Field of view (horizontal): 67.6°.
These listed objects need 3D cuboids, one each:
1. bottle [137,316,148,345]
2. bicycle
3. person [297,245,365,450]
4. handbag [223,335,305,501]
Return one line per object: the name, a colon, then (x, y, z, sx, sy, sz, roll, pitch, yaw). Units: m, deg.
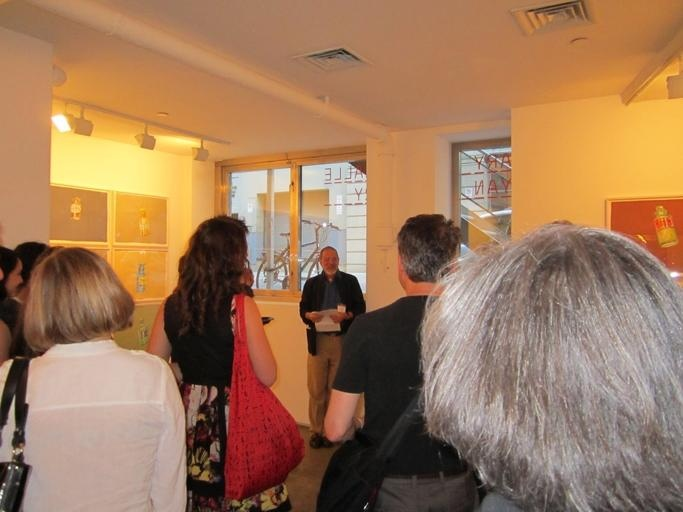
bottle: (-2.037, 0.778, 5.237, 0.027, 0.191, 0.257, -11, 3, 6)
bicycle: (-0.446, -0.001, 5.787, 1.078, 0.740, 0.576, 2, 0, 34)
person: (-0.092, 0.858, 4.761, 0.596, 1.864, 0.567, 1, 7, 1)
handbag: (-0.303, 0.586, 1.924, 0.281, 0.575, 0.092, -1, 2, -36)
